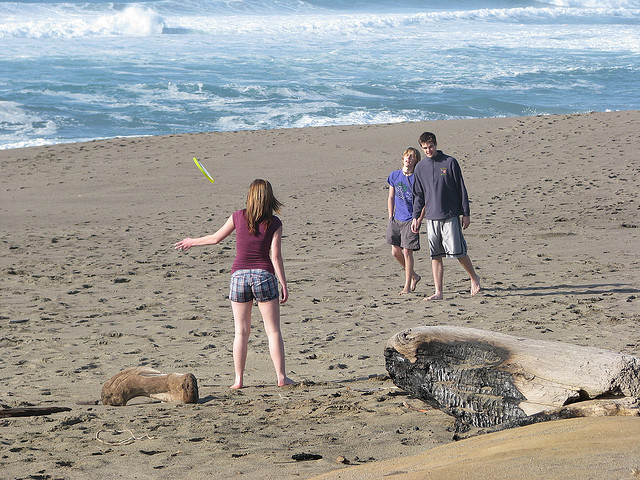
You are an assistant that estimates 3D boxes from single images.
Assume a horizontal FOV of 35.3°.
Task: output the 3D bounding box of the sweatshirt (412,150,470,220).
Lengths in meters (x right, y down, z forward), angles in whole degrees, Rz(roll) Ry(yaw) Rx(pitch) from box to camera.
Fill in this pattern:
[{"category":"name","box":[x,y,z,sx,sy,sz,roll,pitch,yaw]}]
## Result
[{"category":"sweatshirt","box":[2.245,-1.041,18.889,1.113,1.280,0.265,2,12,31]}]
